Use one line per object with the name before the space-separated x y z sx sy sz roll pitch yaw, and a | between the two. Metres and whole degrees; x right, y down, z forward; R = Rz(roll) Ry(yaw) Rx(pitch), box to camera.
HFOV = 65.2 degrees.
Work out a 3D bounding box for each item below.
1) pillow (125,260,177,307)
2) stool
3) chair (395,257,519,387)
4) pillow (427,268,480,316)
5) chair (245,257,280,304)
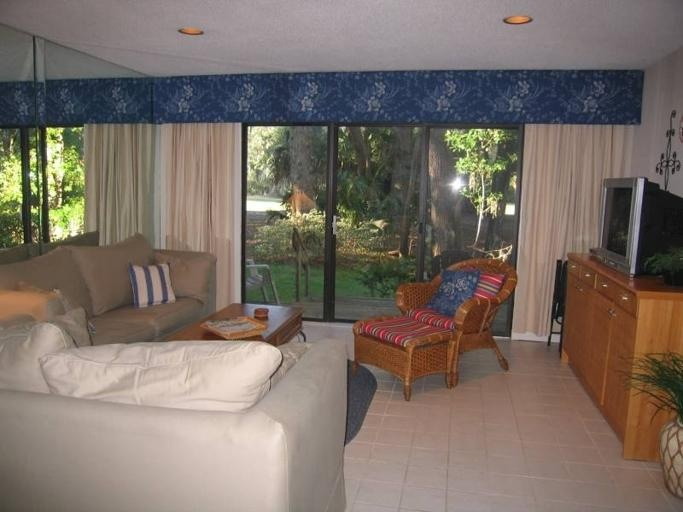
pillow | -1.731 0.247 4.852 0.116 0.365 0.393 -24 -12 34
stool | 0.504 0.759 4.385 0.627 0.426 0.632 -4 5 -39
chair | 1.066 0.454 4.761 1.107 1.013 0.974 -5 5 -33
pillow | 0.978 0.313 4.623 0.124 0.388 0.410 29 -7 -27
chair | -0.867 0.281 6.324 0.462 0.642 0.469 -1 4 -5
